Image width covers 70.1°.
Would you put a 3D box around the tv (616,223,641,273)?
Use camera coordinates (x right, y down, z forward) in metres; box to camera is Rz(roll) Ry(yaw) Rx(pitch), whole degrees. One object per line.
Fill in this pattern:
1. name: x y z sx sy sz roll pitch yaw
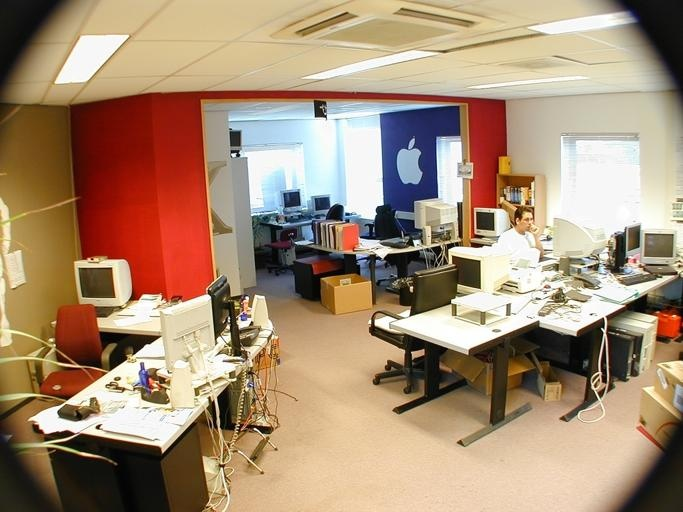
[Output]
1. tv: 3.356 -0.075 5.702 0.568 0.516 0.184 -14 13 -42

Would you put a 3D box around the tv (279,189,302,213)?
1. tv: -1.117 -1.198 10.666 0.540 0.456 0.284 -8 13 -39

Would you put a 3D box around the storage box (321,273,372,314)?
1. storage box: 0.036 0.519 7.200 0.621 0.350 0.607 -6 11 -24

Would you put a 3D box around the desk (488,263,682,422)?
1. desk: 2.236 0.700 4.760 1.081 0.915 2.053 7 16 44

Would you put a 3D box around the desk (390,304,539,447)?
1. desk: 1.191 0.915 4.628 1.222 0.918 1.121 -12 16 -38

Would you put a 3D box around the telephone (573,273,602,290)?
1. telephone: 2.605 0.273 5.181 0.177 0.053 0.209 -15 21 -20

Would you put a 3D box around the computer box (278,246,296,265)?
1. computer box: -1.086 -0.001 9.751 0.422 0.431 0.432 -1 -3 20

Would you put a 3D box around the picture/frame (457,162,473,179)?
1. picture/frame: 1.998 -1.378 7.847 0.297 0.262 0.162 2 4 41

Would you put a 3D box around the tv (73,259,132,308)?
1. tv: -2.470 0.234 5.328 0.680 0.638 0.502 0 3 6

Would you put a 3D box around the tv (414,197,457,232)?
1. tv: 1.510 -0.695 7.865 0.692 0.423 0.487 -8 10 -38

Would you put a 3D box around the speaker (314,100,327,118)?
1. speaker: -0.268 -1.884 6.249 0.156 0.193 0.350 -5 10 -2

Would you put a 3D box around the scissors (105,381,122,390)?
1. scissors: -1.724 0.991 3.703 0.108 0.031 0.060 6 7 9

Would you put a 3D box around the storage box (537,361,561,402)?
1. storage box: 1.950 1.234 4.756 0.197 0.241 0.348 -2 8 7

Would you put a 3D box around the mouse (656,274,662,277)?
1. mouse: 3.551 0.224 5.459 0.053 0.018 0.051 -5 11 -12

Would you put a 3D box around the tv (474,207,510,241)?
1. tv: 2.422 -0.554 7.912 0.496 0.595 0.659 -7 8 -34

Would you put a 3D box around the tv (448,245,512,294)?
1. tv: 1.412 0.076 5.018 0.519 0.415 0.525 -12 13 -43

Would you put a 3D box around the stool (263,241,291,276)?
1. stool: -1.247 0.021 9.849 0.722 0.669 0.630 -2 12 -12

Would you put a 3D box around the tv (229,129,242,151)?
1. tv: -1.888 -2.063 8.718 0.179 0.370 0.136 -6 11 -7
